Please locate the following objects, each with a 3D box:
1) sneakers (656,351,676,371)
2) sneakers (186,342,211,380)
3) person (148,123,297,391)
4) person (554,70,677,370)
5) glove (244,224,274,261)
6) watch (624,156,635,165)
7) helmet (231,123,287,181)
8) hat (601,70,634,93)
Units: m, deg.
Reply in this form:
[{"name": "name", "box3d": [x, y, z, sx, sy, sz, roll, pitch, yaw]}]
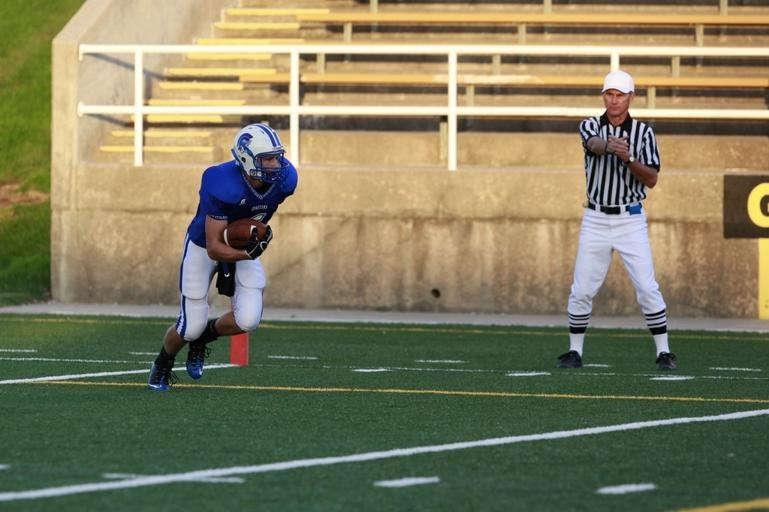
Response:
[{"name": "sneakers", "box3d": [2.813, 1.062, 13.459, 0.150, 0.158, 0.364, -1, -4, 6]}, {"name": "sneakers", "box3d": [-1.771, 0.990, 12.778, 0.144, 0.443, 0.180, -2, 5, -36]}, {"name": "person", "box3d": [-1.474, 0.020, 12.437, 1.298, 2.446, 0.488, 0, 9, 3]}, {"name": "person", "box3d": [2.320, -0.336, 13.449, 1.085, 2.985, 0.533, 1, 9, 10]}, {"name": "glove", "box3d": [-1.141, -0.138, 12.295, 0.234, 0.332, 0.147, 3, -38, 1]}, {"name": "watch", "box3d": [2.392, -0.936, 13.137, 0.081, 0.049, 0.104, 1, 2, -1]}, {"name": "helmet", "box3d": [-1.150, -0.982, 12.359, 0.530, 0.487, 0.402, 12, 19, 25]}, {"name": "hat", "box3d": [2.315, -1.723, 13.334, 0.273, 0.215, 0.223, 0, 10, 4]}]
